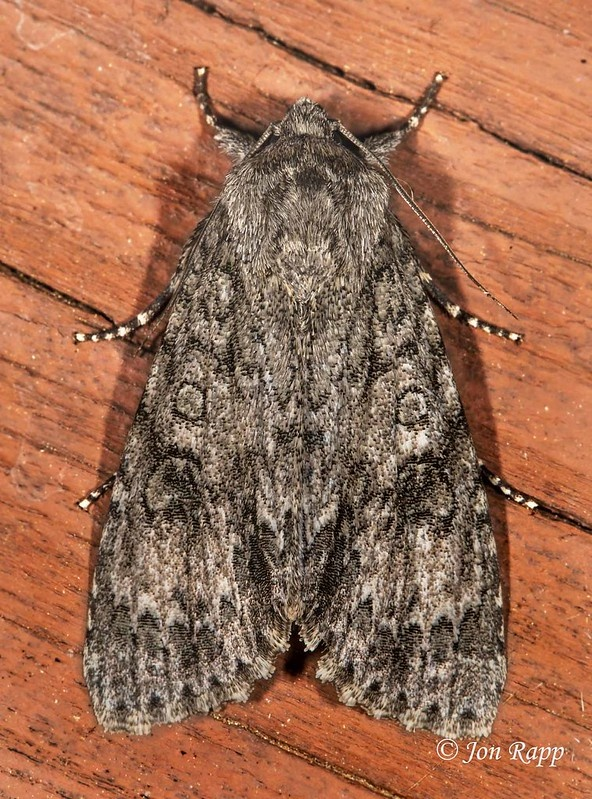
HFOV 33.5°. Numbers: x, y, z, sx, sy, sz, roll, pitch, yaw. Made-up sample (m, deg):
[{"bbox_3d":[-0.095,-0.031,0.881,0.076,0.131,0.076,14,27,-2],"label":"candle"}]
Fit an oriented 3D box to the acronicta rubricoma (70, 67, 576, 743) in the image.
[{"bbox_3d":[0.171,0.039,3.461,2.136,0.571,2.426,-3,94,1],"label":"acronicta rubricoma"}]
